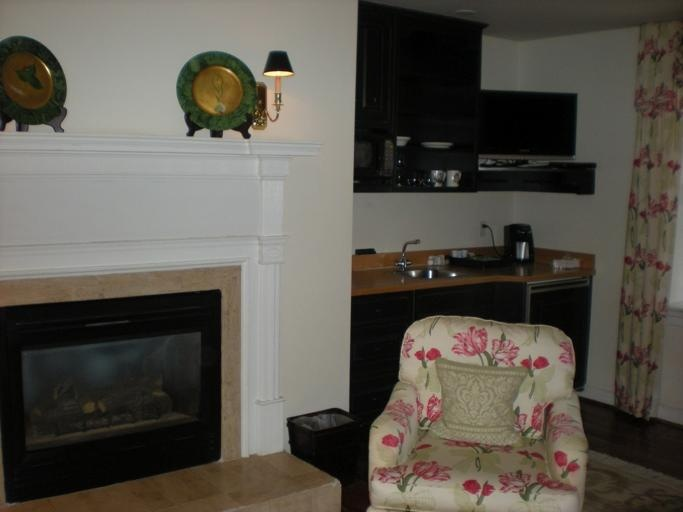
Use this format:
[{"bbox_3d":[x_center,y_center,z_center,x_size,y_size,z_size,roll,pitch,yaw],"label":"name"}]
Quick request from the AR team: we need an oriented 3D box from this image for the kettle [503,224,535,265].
[{"bbox_3d":[1.693,-0.118,5.289,0.275,0.361,0.391,0,8,17],"label":"kettle"}]

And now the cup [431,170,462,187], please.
[{"bbox_3d":[0.894,-0.658,4.757,0.233,0.244,0.144,4,10,1],"label":"cup"}]

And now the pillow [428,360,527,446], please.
[{"bbox_3d":[0.737,0.777,2.908,0.383,0.364,0.168,2,-3,15],"label":"pillow"}]

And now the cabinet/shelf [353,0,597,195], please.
[{"bbox_3d":[0.945,-1.258,4.579,1.922,1.456,0.455,-4,8,-15],"label":"cabinet/shelf"}]

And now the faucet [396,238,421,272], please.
[{"bbox_3d":[0.566,0.002,4.773,0.194,0.315,0.278,-3,5,-32],"label":"faucet"}]

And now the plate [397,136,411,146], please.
[{"bbox_3d":[0.508,-0.909,4.504,0.100,0.048,0.103,1,4,34],"label":"plate"}]

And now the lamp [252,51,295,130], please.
[{"bbox_3d":[-0.392,-0.913,3.123,0.259,0.428,0.154,8,12,37],"label":"lamp"}]
